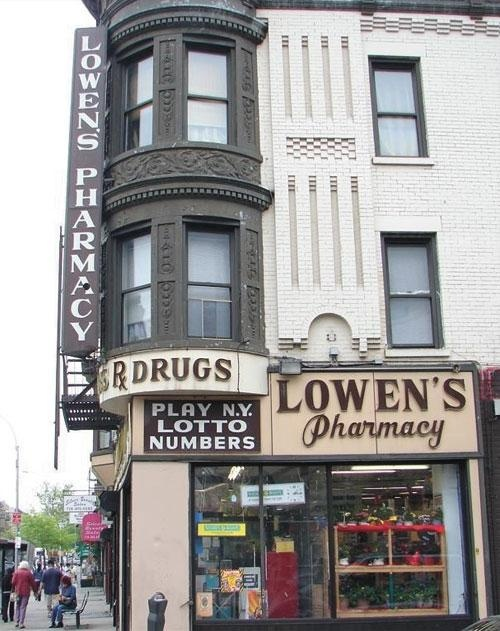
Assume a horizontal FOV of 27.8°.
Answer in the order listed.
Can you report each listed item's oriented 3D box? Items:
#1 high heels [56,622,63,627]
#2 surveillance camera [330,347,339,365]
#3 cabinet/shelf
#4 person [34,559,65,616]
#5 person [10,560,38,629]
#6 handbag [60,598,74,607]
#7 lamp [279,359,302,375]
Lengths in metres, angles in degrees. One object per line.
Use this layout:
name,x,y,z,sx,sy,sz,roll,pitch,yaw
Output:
high heels,-4.288,6.968,22.649,0.109,0.117,0.111,6,-11,-33
surveillance camera,1.361,0.664,16.330,0.189,0.296,0.192,0,0,0
cabinet/shelf,2.187,4.080,15.840,1.030,1.038,0.485,1,-18,-3
person,-5.081,6.893,25.510,0.472,1.650,0.501,2,11,-6
person,-5.189,6.406,23.005,0.517,1.487,1.161,3,-17,-14
handbag,-4.269,6.698,23.349,0.307,0.174,0.612,-4,-18,5
lamp,0.646,0.832,16.038,0.240,0.294,0.175,-1,-5,1
